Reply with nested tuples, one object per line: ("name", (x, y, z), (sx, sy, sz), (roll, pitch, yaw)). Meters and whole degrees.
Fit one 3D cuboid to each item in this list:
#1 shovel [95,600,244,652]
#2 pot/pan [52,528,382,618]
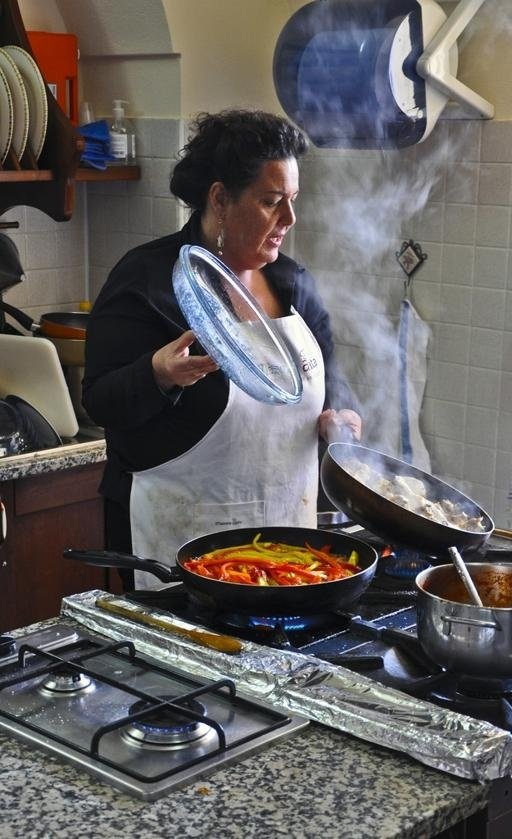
("shovel", (-0.108, 0.260, 0.898), (0.040, 0.022, 0.265), (-15, 15, -41))
("pot/pan", (0.005, 0.205, 0.922), (0.293, 0.049, 0.181), (0, 3, 1))
